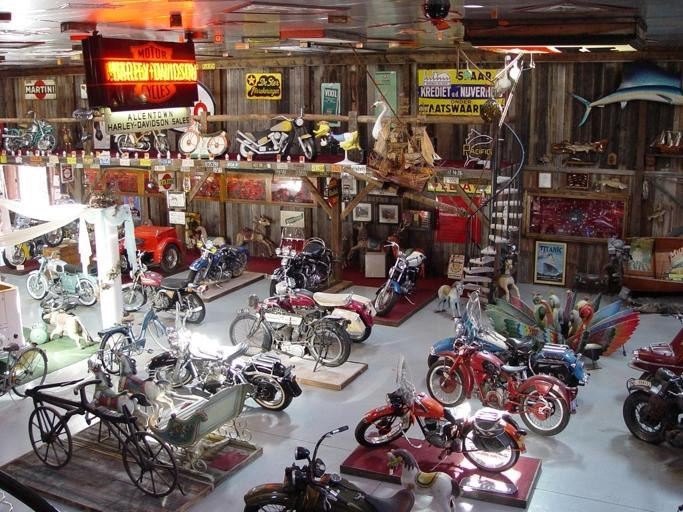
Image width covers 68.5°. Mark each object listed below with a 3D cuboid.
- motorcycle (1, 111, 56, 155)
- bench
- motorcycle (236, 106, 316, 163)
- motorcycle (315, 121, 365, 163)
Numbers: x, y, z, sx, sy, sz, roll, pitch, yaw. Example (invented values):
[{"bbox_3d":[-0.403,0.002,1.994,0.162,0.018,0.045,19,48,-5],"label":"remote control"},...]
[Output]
[{"bbox_3d":[-8.608,-3.474,14.401,1.857,1.204,1.190,2,9,11],"label":"motorcycle"},{"bbox_3d":[-1.529,1.821,5.727,0.702,0.364,0.895,8,14,31],"label":"bench"},{"bbox_3d":[-1.545,-2.674,11.323,1.937,1.042,0.950,1,7,17],"label":"motorcycle"},{"bbox_3d":[-0.015,-2.615,11.509,0.663,0.927,1.337,-33,43,-29],"label":"motorcycle"}]
